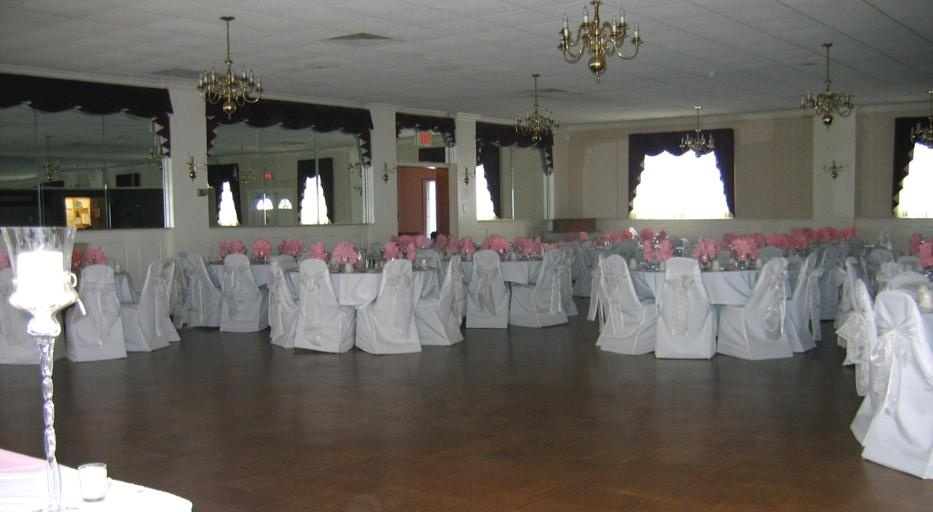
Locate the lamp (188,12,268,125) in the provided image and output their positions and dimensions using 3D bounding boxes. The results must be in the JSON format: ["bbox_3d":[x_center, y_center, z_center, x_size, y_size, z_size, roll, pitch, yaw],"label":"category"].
[{"bbox_3d":[-4.394,-3.459,11.867,1.228,2.021,1.357,0,-7,-11],"label":"lamp"}]

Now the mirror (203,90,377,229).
[{"bbox_3d":[-4.254,-2.291,15.215,3.476,2.243,0.297,-4,4,-42],"label":"mirror"}]

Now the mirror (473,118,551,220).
[{"bbox_3d":[1.217,-2.579,18.965,0.432,2.109,3.133,1,2,40],"label":"mirror"}]
